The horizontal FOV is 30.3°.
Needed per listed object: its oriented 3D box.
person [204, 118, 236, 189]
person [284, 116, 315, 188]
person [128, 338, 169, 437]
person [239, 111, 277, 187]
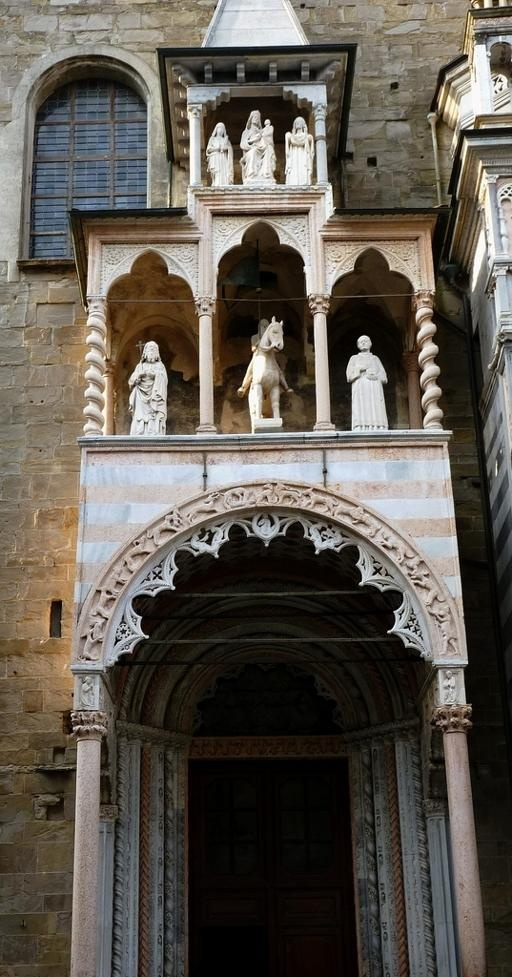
[{"bbox_3d":[-0.434,-3.942,11.453,0.288,1.155,0.401,-2,-26,-4],"label":"person"},{"bbox_3d":[0.529,-4.079,11.540,0.298,0.939,0.212,1,-13,1],"label":"person"},{"bbox_3d":[-1.176,-1.060,10.341,0.362,1.248,0.325,-5,-25,11],"label":"person"},{"bbox_3d":[0.031,-4.148,11.626,0.382,1.056,0.376,-2,-7,4],"label":"person"}]
